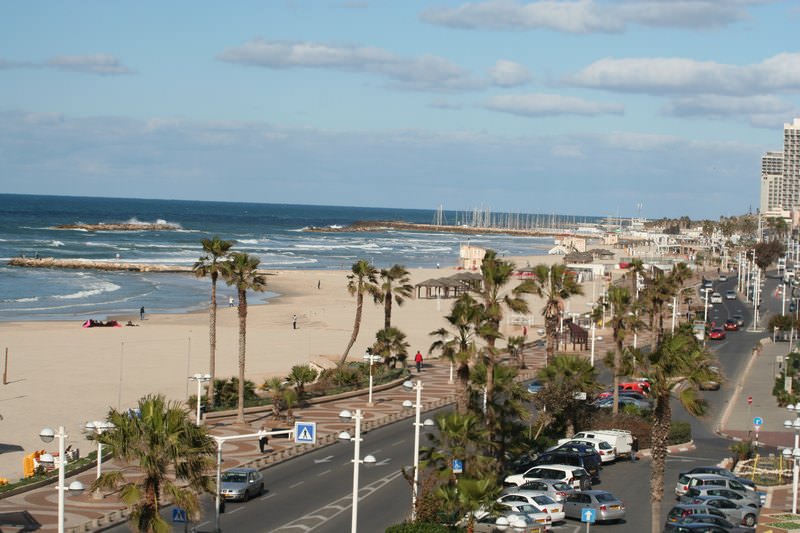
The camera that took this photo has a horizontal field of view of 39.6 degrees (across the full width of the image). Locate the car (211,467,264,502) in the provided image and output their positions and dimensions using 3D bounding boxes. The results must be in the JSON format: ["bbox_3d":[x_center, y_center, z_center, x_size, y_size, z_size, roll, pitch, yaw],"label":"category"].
[{"bbox_3d":[-9.862,13.354,67.854,2.726,1.746,1.478,-1,3,-21],"label":"car"}]

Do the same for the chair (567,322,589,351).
[{"bbox_3d":[17.641,6.882,108.376,2.849,2.569,2.597,0,-1,1],"label":"chair"}]
